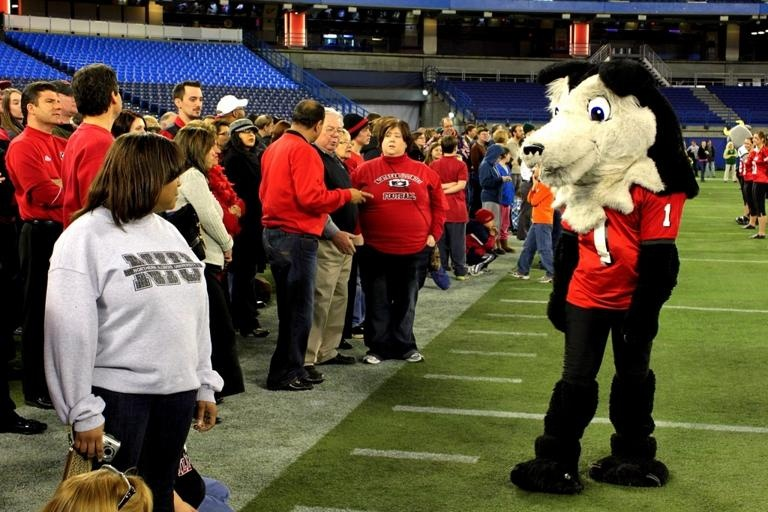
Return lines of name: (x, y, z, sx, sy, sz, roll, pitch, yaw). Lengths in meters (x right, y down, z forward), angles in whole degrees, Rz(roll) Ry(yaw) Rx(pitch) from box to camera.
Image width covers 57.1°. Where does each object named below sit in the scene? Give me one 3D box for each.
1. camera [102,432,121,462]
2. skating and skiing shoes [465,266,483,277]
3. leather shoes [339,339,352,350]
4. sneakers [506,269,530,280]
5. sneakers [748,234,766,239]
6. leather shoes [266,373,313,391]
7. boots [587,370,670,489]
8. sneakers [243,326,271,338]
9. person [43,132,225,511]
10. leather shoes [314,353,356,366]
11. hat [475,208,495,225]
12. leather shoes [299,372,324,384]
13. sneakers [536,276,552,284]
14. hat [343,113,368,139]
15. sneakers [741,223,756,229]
camera: (-1.146, 0.809, 2.990, 0.048, 0.131, 0.090, 6, 12, 33)
skating and skiing shoes: (1.382, 0.212, 10.659, 0.189, 0.065, 0.140, -1, 18, -6)
leather shoes: (-0.376, 0.869, 7.013, 0.159, 0.134, 0.069, 0, 10, -5)
sneakers: (1.985, 0.276, 10.330, 0.278, 0.113, 0.100, 8, 4, 21)
sneakers: (7.663, -0.425, 14.477, 0.406, 0.143, 0.126, 1, 4, 5)
leather shoes: (-0.759, 1.031, 5.753, 0.394, 0.154, 0.133, -1, 3, -9)
boots: (1.505, 1.026, 4.218, 0.520, 0.570, 0.576, 2, -5, 5)
sneakers: (-1.301, 0.767, 7.212, 0.292, 0.108, 0.098, -2, 2, 1)
person: (-1.095, 0.300, 3.095, 0.733, 1.665, 0.365, -6, 12, -31)
leather shoes: (-0.438, 0.943, 6.467, 0.377, 0.131, 0.120, -5, 1, -1)
hat: (1.541, -0.632, 10.791, 0.237, 0.176, 0.224, -32, 11, 39)
leather shoes: (-0.586, 1.000, 5.816, 0.219, 0.088, 0.078, -2, 5, 10)
sneakers: (2.300, 0.334, 10.104, 0.268, 0.101, 0.098, 4, -4, -27)
hat: (-0.308, -1.386, 7.385, 0.246, 0.190, 0.193, -38, 15, 9)
sneakers: (8.150, -0.689, 15.804, 0.308, 0.112, 0.108, 6, 5, 42)
